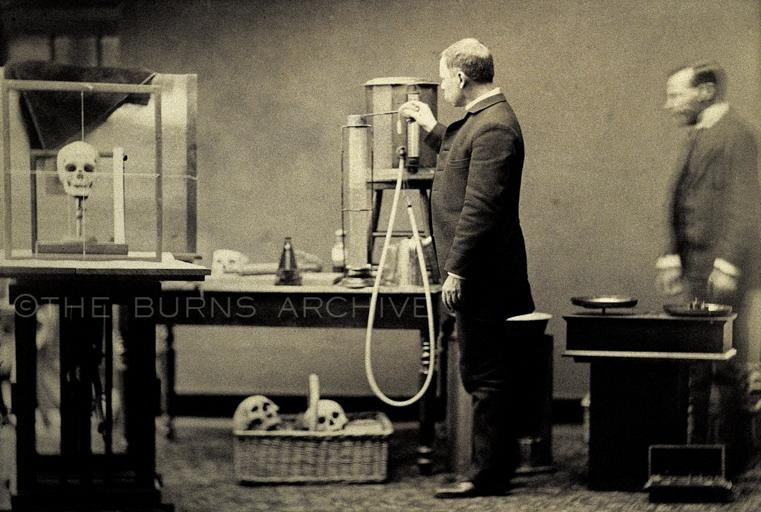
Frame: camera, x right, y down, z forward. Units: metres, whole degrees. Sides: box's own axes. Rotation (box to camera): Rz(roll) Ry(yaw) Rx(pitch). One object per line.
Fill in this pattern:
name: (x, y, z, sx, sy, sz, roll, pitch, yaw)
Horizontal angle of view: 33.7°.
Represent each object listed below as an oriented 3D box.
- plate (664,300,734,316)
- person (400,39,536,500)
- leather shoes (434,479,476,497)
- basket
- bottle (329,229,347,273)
plate: (1.759, 0.295, 6.999, 0.257, 0.055, 0.148, 2, 5, 1)
person: (0.558, 0.075, 6.937, 0.558, 2.529, 0.361, 0, 0, 6)
leather shoes: (0.420, 1.292, 7.041, 0.174, 0.057, 0.106, -2, -3, 6)
basket: (-0.384, 1.026, 7.381, 0.892, 0.546, 0.567, 1, -6, -3)
bottle: (-0.249, -0.039, 7.699, 0.077, 0.262, 0.240, 0, 1, -2)
